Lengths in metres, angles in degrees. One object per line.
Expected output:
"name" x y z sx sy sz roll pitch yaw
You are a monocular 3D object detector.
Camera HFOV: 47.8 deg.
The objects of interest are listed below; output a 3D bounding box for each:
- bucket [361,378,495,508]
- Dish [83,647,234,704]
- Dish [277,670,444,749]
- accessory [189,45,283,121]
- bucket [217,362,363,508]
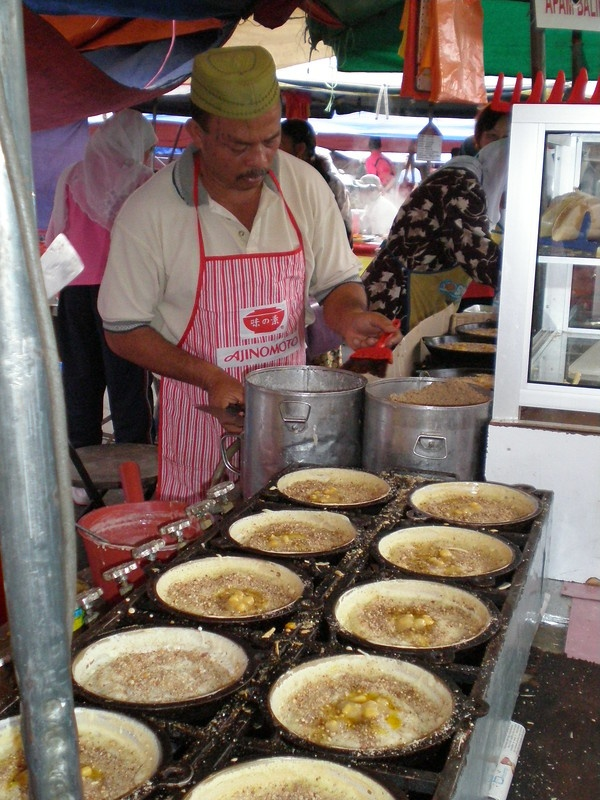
"bucket" 0.322 0.067 1.826 0.300 0.276 0.277 1 31 -1
"Dish" -0.204 0.396 0.975 0.192 0.025 0.132 -2 6 -17
"Dish" 0.080 0.406 0.886 0.207 0.043 0.190 -1 6 -9
"accessory" -0.185 -0.873 1.935 0.262 0.130 0.245 -10 45 -11
"bucket" 0.036 0.046 1.867 0.445 0.364 0.377 2 14 7
